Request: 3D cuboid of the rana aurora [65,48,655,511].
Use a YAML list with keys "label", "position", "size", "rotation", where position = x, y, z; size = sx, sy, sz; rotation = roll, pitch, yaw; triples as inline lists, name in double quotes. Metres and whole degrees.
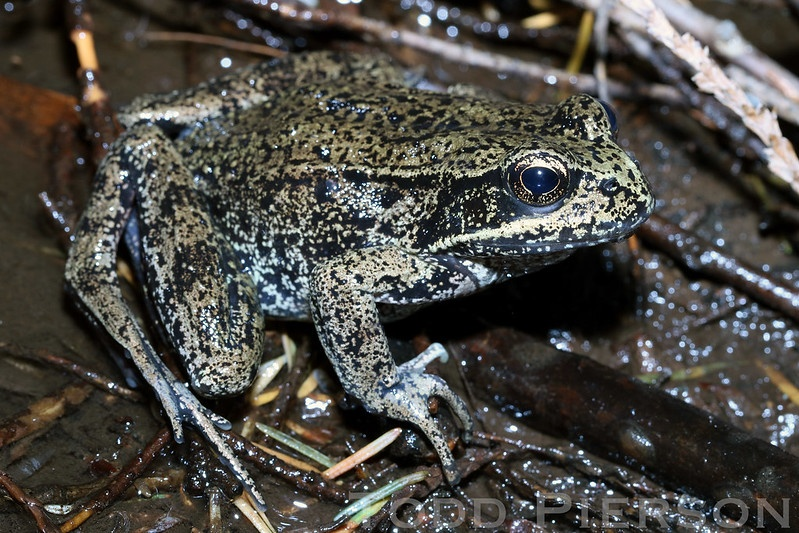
- label: "rana aurora"
  position: [-0.471, -0.280, 6.426]
  size: [3.730, 1.539, 2.967]
  rotation: [10, 63, -2]
